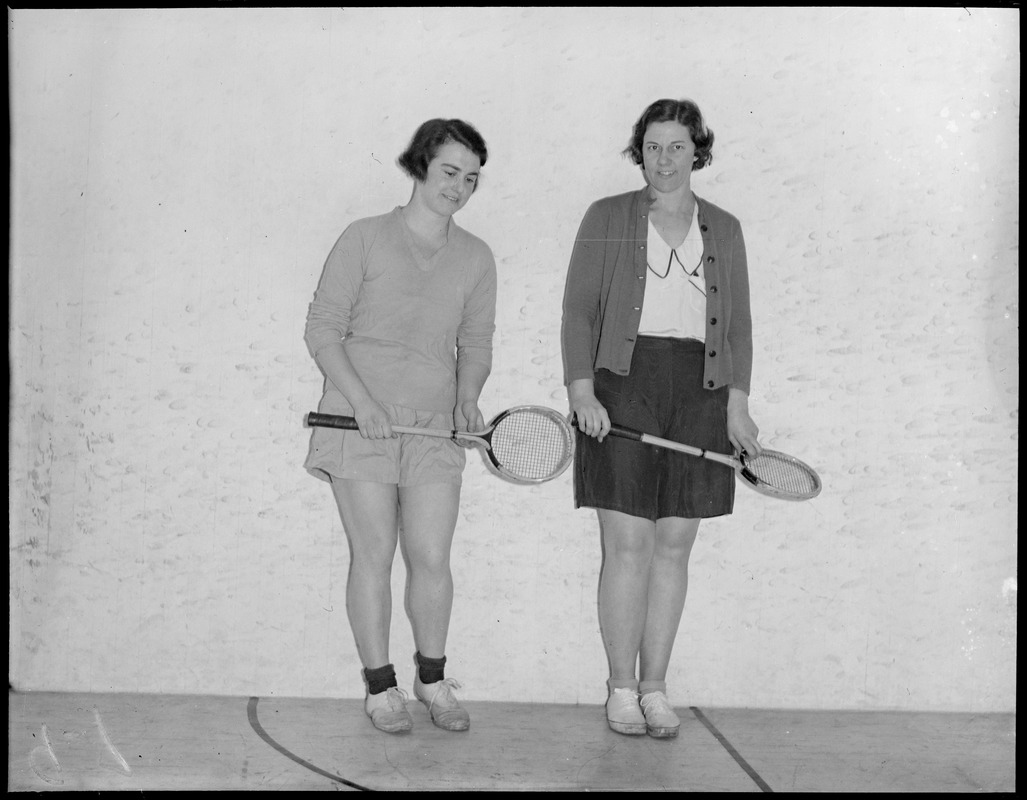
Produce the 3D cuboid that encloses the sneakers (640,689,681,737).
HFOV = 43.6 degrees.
[{"bbox_3d":[0.499,1.071,4.345,0.075,0.082,0.200,0,-5,-9],"label":"sneakers"}]

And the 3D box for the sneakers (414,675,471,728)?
[{"bbox_3d":[-0.252,1.038,4.448,0.111,0.092,0.223,4,18,-45],"label":"sneakers"}]

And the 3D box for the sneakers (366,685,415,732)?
[{"bbox_3d":[-0.410,1.052,4.324,0.078,0.086,0.210,5,-14,-25],"label":"sneakers"}]
